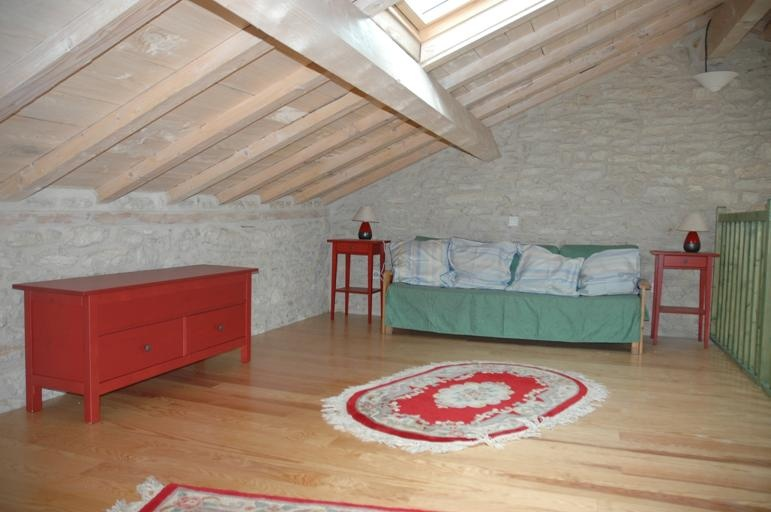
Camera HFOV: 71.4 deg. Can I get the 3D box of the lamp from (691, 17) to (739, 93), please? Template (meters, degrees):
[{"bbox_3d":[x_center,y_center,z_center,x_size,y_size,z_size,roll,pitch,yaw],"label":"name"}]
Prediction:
[{"bbox_3d":[3.496,-2.128,5.680,0.386,0.789,0.430,2,0,27],"label":"lamp"}]

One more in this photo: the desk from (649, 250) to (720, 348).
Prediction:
[{"bbox_3d":[3.155,0.438,5.701,0.613,1.049,0.610,2,0,23],"label":"desk"}]

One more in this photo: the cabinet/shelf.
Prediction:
[{"bbox_3d":[-1.879,0.622,4.128,0.600,0.888,1.390,2,0,37],"label":"cabinet/shelf"}]

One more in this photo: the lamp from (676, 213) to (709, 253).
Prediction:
[{"bbox_3d":[3.266,-0.260,5.713,0.247,0.454,0.550,2,0,28],"label":"lamp"}]

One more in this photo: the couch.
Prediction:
[{"bbox_3d":[1.389,0.371,5.813,2.698,0.686,0.884,2,22,27],"label":"couch"}]

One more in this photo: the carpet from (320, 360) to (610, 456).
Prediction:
[{"bbox_3d":[0.605,1.115,4.139,2.058,0.284,1.333,1,0,-35],"label":"carpet"}]

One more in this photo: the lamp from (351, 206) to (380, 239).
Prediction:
[{"bbox_3d":[-0.261,-0.409,6.630,0.283,0.371,0.482,2,0,-2],"label":"lamp"}]
